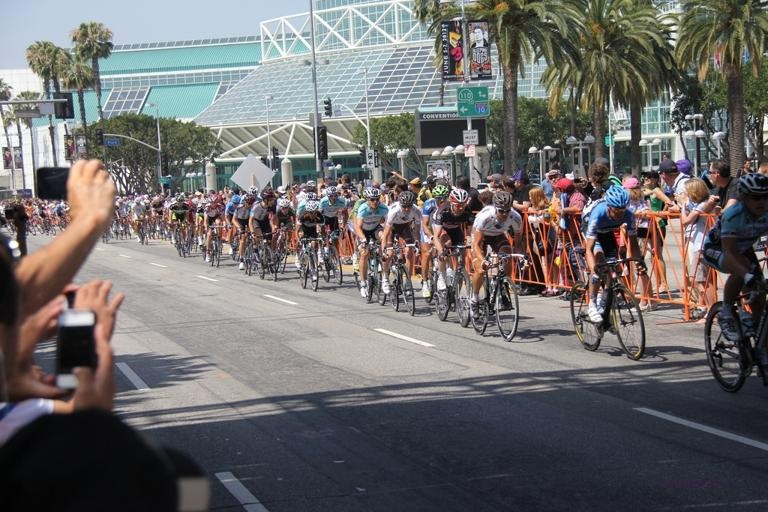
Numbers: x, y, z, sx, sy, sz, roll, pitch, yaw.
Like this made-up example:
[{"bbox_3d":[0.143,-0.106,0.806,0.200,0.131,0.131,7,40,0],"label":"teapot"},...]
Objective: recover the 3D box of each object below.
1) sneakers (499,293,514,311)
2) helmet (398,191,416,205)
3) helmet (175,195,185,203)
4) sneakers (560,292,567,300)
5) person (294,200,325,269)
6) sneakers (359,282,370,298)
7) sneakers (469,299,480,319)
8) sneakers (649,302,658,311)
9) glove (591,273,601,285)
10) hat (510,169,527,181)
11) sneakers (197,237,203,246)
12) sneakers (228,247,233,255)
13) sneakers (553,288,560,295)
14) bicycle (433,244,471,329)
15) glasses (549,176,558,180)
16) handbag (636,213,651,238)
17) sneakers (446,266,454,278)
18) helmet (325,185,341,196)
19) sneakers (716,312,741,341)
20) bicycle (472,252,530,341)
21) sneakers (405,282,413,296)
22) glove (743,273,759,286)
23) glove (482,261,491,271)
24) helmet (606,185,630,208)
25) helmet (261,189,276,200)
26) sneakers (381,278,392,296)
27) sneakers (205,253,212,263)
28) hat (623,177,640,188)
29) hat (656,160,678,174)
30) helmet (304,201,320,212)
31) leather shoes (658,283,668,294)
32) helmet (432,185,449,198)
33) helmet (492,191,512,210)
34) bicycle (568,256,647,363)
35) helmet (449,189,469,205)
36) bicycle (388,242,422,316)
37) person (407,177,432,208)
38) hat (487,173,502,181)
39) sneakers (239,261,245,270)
[{"bbox_3d":[1.741,0.648,11.832,0.147,0.234,0.086,-3,4,27],"label":"sneakers"},{"bbox_3d":[0.386,-1.021,14.650,0.272,0.244,0.429,-2,5,-1],"label":"helmet"},{"bbox_3d":[-7.340,-2.101,29.811,0.359,0.252,0.464,0,12,-1],"label":"helmet"},{"bbox_3d":[3.302,0.721,15.245,0.114,0.056,0.120,6,32,25],"label":"sneakers"},{"bbox_3d":[-1.667,-0.490,18.780,0.711,1.920,1.322,-4,36,-8],"label":"person"},{"bbox_3d":[-0.395,0.622,16.233,0.115,0.365,0.146,2,-9,2],"label":"sneakers"},{"bbox_3d":[1.356,0.770,12.458,0.109,0.331,0.130,-6,4,-25],"label":"sneakers"},{"bbox_3d":[4.450,0.811,13.664,0.075,0.098,0.217,-2,-3,6],"label":"sneakers"},{"bbox_3d":[2.681,0.290,10.570,0.123,0.183,0.095,-6,-21,28],"label":"glove"},{"bbox_3d":[2.725,-1.608,17.078,0.308,0.206,0.243,21,36,24],"label":"hat"},{"bbox_3d":[-7.039,-0.579,31.658,0.143,0.158,0.274,8,20,-14],"label":"sneakers"},{"bbox_3d":[-4.987,-0.190,26.948,0.148,0.299,0.162,-6,-39,-2],"label":"sneakers"},{"bbox_3d":[3.203,0.649,15.508,0.102,0.163,0.203,-2,5,2],"label":"sneakers"},{"bbox_3d":[1.098,0.431,13.342,0.422,1.271,1.698,-2,5,-5],"label":"bicycle"},{"bbox_3d":[3.375,-1.562,16.488,0.115,0.048,0.084,10,-11,-40],"label":"glasses"},{"bbox_3d":[4.329,-0.532,13.822,0.135,0.414,0.272,3,5,-22],"label":"handbag"},{"bbox_3d":[1.081,0.255,13.608,0.131,0.142,0.108,0,9,5],"label":"sneakers"},{"bbox_3d":[-1.176,-1.512,18.983,0.188,0.241,0.242,-2,25,-29],"label":"helmet"},{"bbox_3d":[3.522,0.712,8.487,0.102,0.345,0.143,-13,-37,8],"label":"sneakers"},{"bbox_3d":[1.700,0.554,12.082,0.610,1.211,1.359,-3,5,-11],"label":"bicycle"},{"bbox_3d":[0.431,0.545,14.259,0.079,0.215,0.144,-5,-2,-33],"label":"sneakers"},{"bbox_3d":[3.586,0.216,8.099,0.131,0.131,0.110,0,5,20],"label":"glove"},{"bbox_3d":[1.482,0.137,12.001,0.089,0.125,0.042,5,-1,-1],"label":"glove"},{"bbox_3d":[2.955,-0.752,10.528,0.280,0.281,0.387,-1,5,10],"label":"helmet"},{"bbox_3d":[-2.911,-1.562,20.570,0.265,0.237,0.267,9,11,15],"label":"helmet"},{"bbox_3d":[0.033,0.535,15.112,0.097,0.325,0.128,-6,-15,0],"label":"sneakers"},{"bbox_3d":[-5.465,0.028,25.711,0.185,0.243,0.578,2,2,-6],"label":"sneakers"},{"bbox_3d":[4.456,-1.342,14.957,0.286,0.178,0.435,4,23,15],"label":"hat"},{"bbox_3d":[4.922,-1.532,14.318,0.219,0.192,0.357,-12,24,-5],"label":"hat"},{"bbox_3d":[-1.607,-1.139,18.583,0.305,0.241,0.319,-4,5,-15],"label":"helmet"},{"bbox_3d":[4.491,0.515,13.312,0.136,0.177,0.291,-1,6,18],"label":"leather shoes"},{"bbox_3d":[0.950,-1.093,14.089,0.185,0.271,0.172,0,-5,8],"label":"helmet"},{"bbox_3d":[1.700,-0.804,11.901,0.258,0.256,0.346,-2,5,6],"label":"helmet"},{"bbox_3d":[2.883,0.615,10.610,0.399,1.256,1.600,-3,5,-9],"label":"bicycle"},{"bbox_3d":[1.158,-0.930,12.990,0.274,0.249,0.421,-2,5,4],"label":"helmet"},{"bbox_3d":[0.314,0.335,14.765,0.451,1.256,1.447,-2,5,-1],"label":"bicycle"},{"bbox_3d":[0.899,-1.629,20.659,0.606,0.925,0.397,-3,-2,-11],"label":"person"},{"bbox_3d":[2.387,-1.723,17.912,0.230,0.144,0.348,-2,7,-23],"label":"hat"},{"bbox_3d":[-3.954,0.251,23.009,0.099,0.135,0.288,1,9,-7],"label":"sneakers"}]
